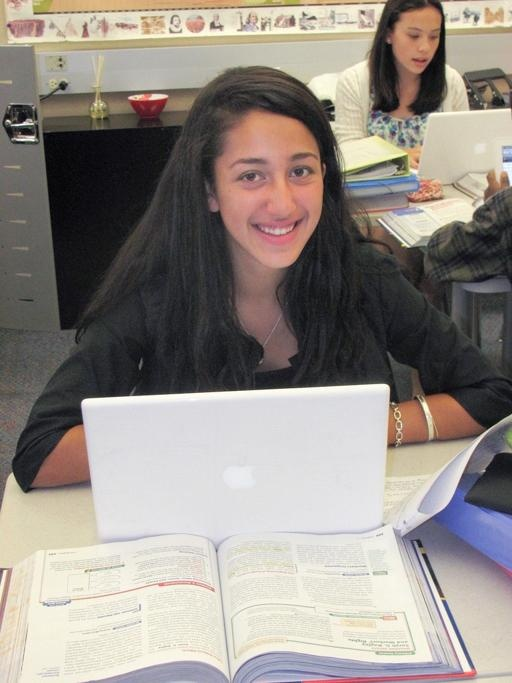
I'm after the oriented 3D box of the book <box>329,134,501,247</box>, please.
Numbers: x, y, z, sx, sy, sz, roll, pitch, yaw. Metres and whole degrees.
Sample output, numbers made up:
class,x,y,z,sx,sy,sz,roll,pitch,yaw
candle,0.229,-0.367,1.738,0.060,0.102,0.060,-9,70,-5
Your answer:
class,x,y,z,sx,sy,sz,roll,pitch,yaw
book,0.510,-0.547,2.063,0.476,0.209,0.597,-15,38,-12

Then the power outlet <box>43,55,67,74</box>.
class,x,y,z,sx,sy,sz,roll,pitch,yaw
power outlet,-1.231,-1.703,3.487,0.114,0.097,0.026,3,12,-4

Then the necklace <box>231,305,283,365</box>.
class,x,y,z,sx,sy,sz,roll,pitch,yaw
necklace,0.000,-0.006,1.172,0.030,0.152,0.031,29,0,7

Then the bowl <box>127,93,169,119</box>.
class,x,y,z,sx,sy,sz,roll,pitch,yaw
bowl,-0.597,-1.314,3.259,0.203,0.098,0.194,-1,36,1
